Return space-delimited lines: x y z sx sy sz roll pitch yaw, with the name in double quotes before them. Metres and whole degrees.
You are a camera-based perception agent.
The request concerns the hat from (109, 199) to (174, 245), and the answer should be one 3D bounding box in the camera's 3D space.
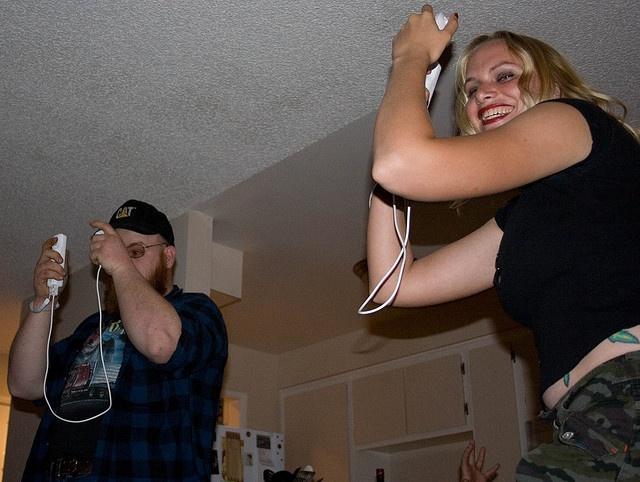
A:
"hat" -0.759 -0.090 2.240 0.177 0.128 0.246 -1 -30 27
